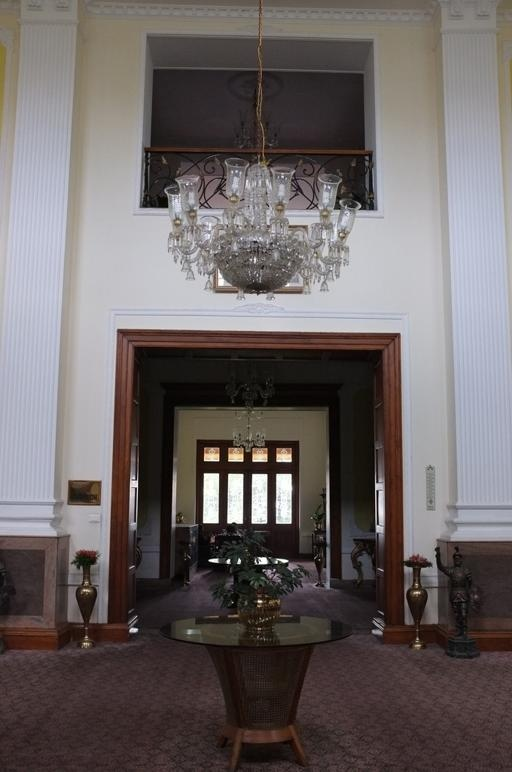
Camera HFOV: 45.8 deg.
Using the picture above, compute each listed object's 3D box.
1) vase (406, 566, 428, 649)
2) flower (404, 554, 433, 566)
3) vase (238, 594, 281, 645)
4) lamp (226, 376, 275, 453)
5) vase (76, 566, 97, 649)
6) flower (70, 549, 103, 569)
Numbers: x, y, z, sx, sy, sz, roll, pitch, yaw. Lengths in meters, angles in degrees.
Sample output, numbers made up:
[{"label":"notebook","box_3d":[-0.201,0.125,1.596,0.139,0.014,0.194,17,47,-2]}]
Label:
[{"label":"vase","box_3d":[1.516,2.034,5.713,0.196,0.750,0.387,-1,-6,14]},{"label":"flower","box_3d":[1.539,1.645,5.751,0.151,0.076,0.154,2,-4,-15]},{"label":"vase","box_3d":[0.015,1.209,3.244,0.206,0.233,0.214,5,-10,-12]},{"label":"lamp","box_3d":[-0.136,0.518,11.262,0.816,1.299,0.801,2,2,31]},{"label":"vase","box_3d":[-1.589,2.025,5.651,0.183,0.720,0.355,2,-6,-15]},{"label":"flower","box_3d":[-1.564,1.571,5.591,0.197,0.145,0.192,4,5,5]}]
